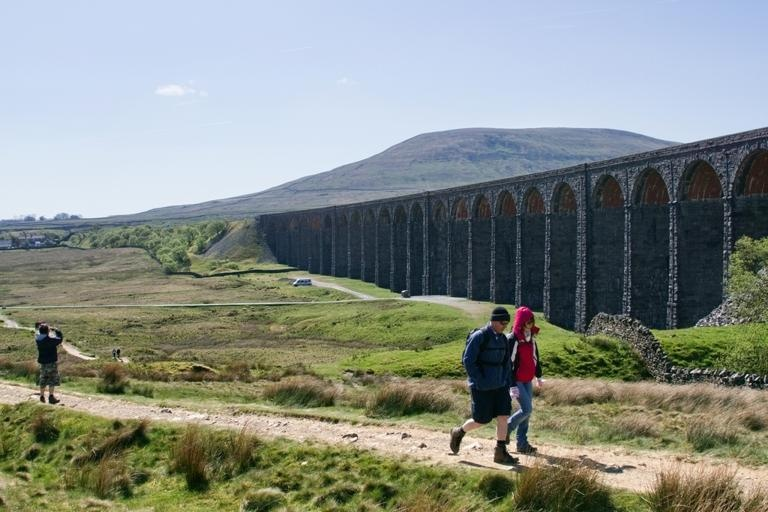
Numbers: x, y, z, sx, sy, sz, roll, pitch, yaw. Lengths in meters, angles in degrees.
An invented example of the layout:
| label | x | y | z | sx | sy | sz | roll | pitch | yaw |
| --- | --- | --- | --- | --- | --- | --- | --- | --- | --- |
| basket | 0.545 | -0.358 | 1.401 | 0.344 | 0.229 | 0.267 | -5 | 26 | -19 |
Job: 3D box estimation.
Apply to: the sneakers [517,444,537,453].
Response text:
| label | x | y | z | sx | sy | sz | roll | pitch | yaw |
| --- | --- | --- | --- | --- | --- | --- | --- | --- | --- |
| sneakers | 4.238 | 5.684 | 21.408 | 0.607 | 0.196 | 0.213 | 2 | 3 | -6 |

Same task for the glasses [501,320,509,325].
| label | x | y | z | sx | sy | sz | roll | pitch | yaw |
| --- | --- | --- | --- | --- | --- | --- | --- | --- | --- |
| glasses | 3.474 | 1.900 | 20.726 | 0.209 | 0.108 | 0.701 | -2 | -1 | 8 |

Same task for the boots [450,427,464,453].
| label | x | y | z | sx | sy | sz | roll | pitch | yaw |
| --- | --- | --- | --- | --- | --- | --- | --- | --- | --- |
| boots | 2.206 | 5.423 | 21.485 | 0.477 | 0.769 | 0.345 | 7 | 11 | 12 |

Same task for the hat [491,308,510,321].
| label | x | y | z | sx | sy | sz | roll | pitch | yaw |
| --- | --- | --- | --- | --- | --- | --- | --- | --- | --- |
| hat | 3.378 | 1.689 | 20.806 | 0.556 | 0.289 | 0.483 | 1 | -2 | 21 |

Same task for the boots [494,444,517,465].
| label | x | y | z | sx | sy | sz | roll | pitch | yaw |
| --- | --- | --- | --- | --- | --- | --- | --- | --- | --- |
| boots | 3.305 | 5.764 | 20.924 | 1.004 | 0.469 | 0.313 | -2 | 3 | 0 |
